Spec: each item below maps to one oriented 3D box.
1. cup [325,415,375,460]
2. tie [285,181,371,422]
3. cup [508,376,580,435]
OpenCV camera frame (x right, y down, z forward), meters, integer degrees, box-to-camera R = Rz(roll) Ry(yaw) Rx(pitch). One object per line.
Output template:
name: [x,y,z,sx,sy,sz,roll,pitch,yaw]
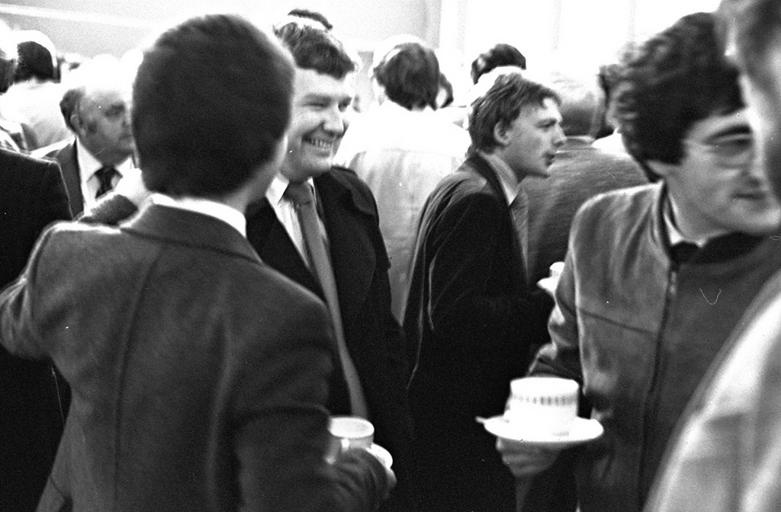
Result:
cup: [-0.084,0.390,1.561,0.126,0.073,0.124,1,2,0]
tie: [-0.152,0.119,1.727,0.096,0.706,0.076,-10,-22,-29]
cup: [0.315,0.310,1.498,0.119,0.087,0.122,3,-3,0]
